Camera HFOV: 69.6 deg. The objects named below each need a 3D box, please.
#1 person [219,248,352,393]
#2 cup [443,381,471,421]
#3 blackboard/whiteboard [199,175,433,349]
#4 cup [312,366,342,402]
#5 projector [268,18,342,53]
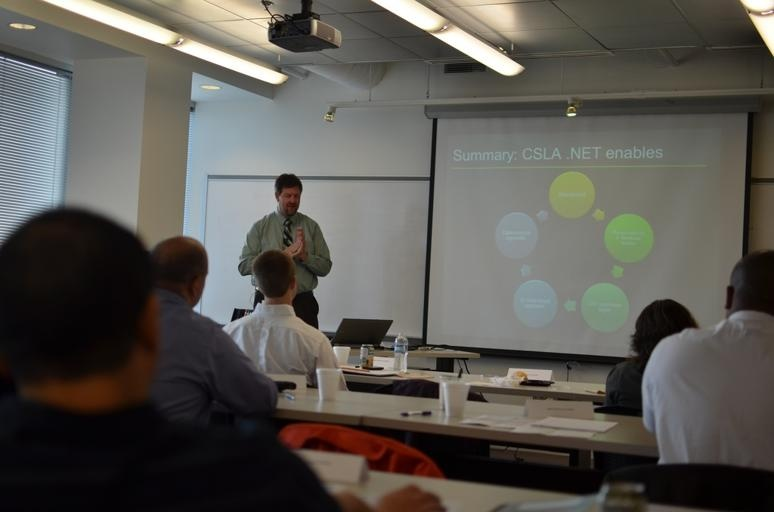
[{"bbox_3d":[-0.700,0.467,4.449,1.362,1.181,0.639,3,16,12],"label":"person"},{"bbox_3d":[0.330,0.723,2.769,0.149,0.153,0.149,0,-10,0],"label":"cup"},{"bbox_3d":[-0.602,0.045,6.474,2.293,1.578,0.076,1,-4,11],"label":"blackboard/whiteboard"},{"bbox_3d":[-0.307,0.705,3.110,0.169,0.172,0.168,0,-2,0],"label":"cup"},{"bbox_3d":[-0.760,-2.016,5.115,0.592,0.304,0.337,10,0,25],"label":"projector"}]
